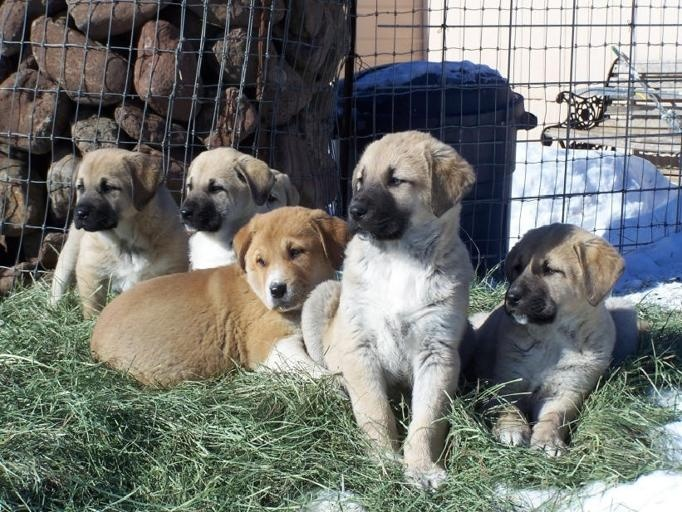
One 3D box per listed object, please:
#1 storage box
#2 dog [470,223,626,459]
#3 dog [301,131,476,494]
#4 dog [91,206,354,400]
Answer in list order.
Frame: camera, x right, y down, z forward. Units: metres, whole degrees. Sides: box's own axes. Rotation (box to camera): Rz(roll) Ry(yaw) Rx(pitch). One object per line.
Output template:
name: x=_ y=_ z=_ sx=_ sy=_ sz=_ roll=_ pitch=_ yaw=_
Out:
storage box: x=1.198 y=-1.245 z=11.961 sx=2.282 sy=2.493 sz=2.255 roll=6 pitch=13 yaw=40
dog: x=1.853 y=0.754 z=8.446 sx=1.462 sy=1.918 sz=2.865 roll=4 pitch=-2 yaw=11
dog: x=0.422 y=0.362 z=7.367 sx=1.267 sy=2.777 sz=0.792 roll=3 pitch=5 yaw=10
dog: x=-0.942 y=0.355 z=8.179 sx=2.270 sy=1.657 sz=1.232 roll=-12 pitch=35 yaw=-7
